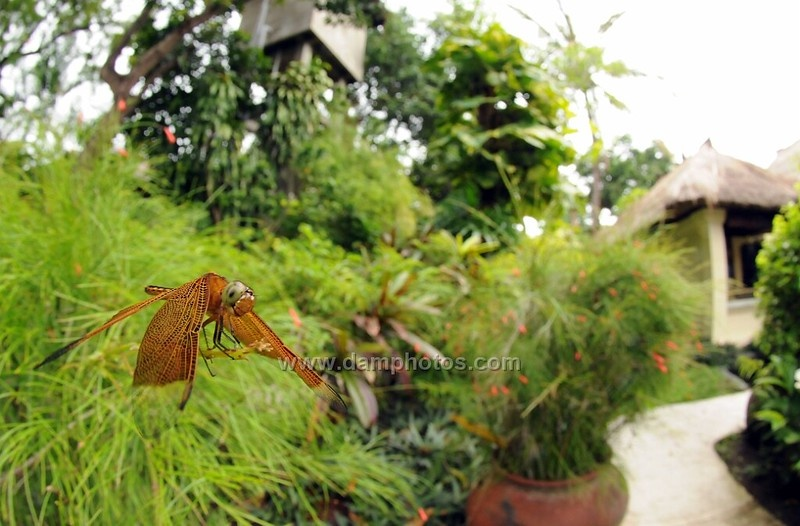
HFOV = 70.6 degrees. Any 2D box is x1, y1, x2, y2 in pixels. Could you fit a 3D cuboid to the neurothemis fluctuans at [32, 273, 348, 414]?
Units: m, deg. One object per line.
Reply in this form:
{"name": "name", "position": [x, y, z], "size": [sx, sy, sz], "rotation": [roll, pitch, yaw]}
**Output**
{"name": "neurothemis fluctuans", "position": [-0.485, 0.107, 1.389], "size": [0.518, 0.228, 0.414], "rotation": [5, -10, 25]}
